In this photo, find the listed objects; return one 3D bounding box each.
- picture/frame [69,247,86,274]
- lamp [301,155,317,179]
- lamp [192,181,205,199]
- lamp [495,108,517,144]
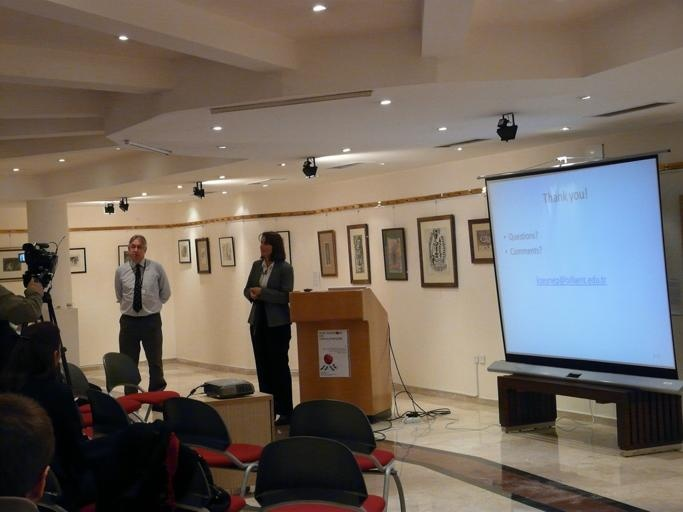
[{"bbox_3d":[-5.736,0.097,11.292,0.024,0.655,0.529,4,5,44],"label":"picture/frame"},{"bbox_3d":[-0.424,-1.172,6.961,0.232,0.328,0.230,5,-8,-39],"label":"lamp"},{"bbox_3d":[-2.429,-1.124,8.863,0.172,0.234,0.641,-2,-2,-16],"label":"lamp"},{"bbox_3d":[1.631,-1.264,5.179,0.174,0.246,0.353,-3,-2,17],"label":"lamp"}]
